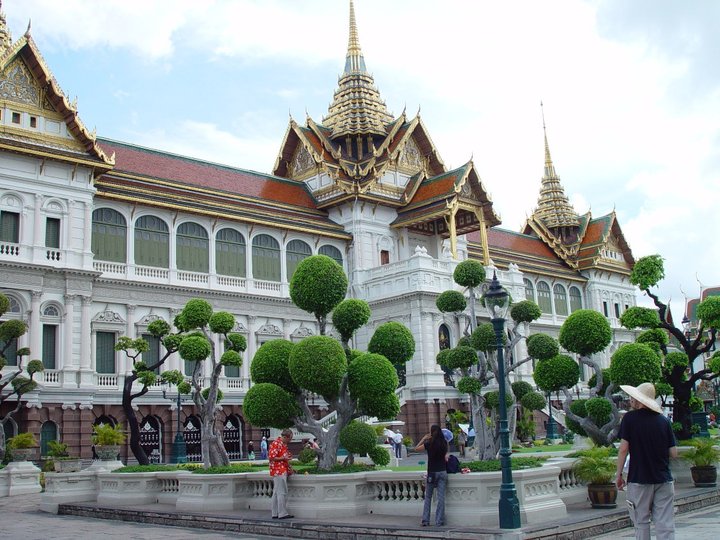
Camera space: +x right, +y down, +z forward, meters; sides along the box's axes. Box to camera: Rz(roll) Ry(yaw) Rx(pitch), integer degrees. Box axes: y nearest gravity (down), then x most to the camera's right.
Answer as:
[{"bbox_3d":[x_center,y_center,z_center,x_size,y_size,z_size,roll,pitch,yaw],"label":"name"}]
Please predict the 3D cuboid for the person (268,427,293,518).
[{"bbox_3d":[-1.948,4.859,20.862,0.515,2.098,0.854,-1,-13,-6],"label":"person"}]

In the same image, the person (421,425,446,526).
[{"bbox_3d":[1.626,4.541,19.364,0.643,2.182,0.682,-3,-13,4],"label":"person"}]

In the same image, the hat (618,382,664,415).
[{"bbox_3d":[5.128,2.255,15.810,0.649,0.265,0.686,22,6,22],"label":"hat"}]

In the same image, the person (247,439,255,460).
[{"bbox_3d":[-5.112,8.188,39.843,0.357,0.891,0.977,-1,-13,-7],"label":"person"}]

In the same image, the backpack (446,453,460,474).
[{"bbox_3d":[2.106,4.400,19.802,0.318,0.414,0.530,-4,-13,5],"label":"backpack"}]
